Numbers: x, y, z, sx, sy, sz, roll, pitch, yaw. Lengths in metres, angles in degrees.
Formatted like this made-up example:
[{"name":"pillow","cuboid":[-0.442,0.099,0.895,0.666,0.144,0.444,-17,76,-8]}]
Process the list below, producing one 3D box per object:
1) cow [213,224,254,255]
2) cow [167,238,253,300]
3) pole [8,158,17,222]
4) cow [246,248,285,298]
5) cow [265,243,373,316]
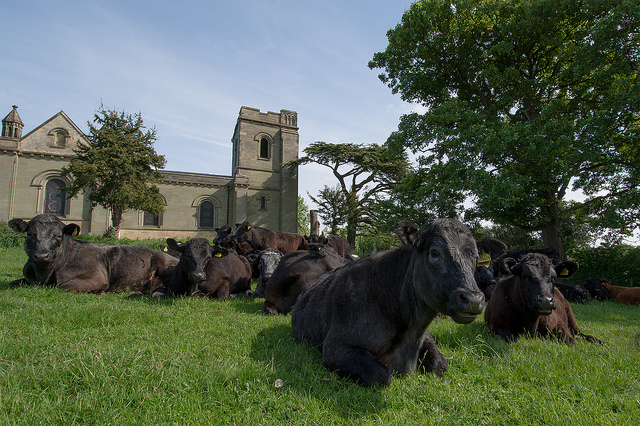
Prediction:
[{"name":"cow","cuboid":[-4.881,1.476,24.505,1.078,1.877,3.433,14,5,8]},{"name":"cow","cuboid":[-3.640,2.027,15.221,1.639,1.294,3.291,-1,-18,6]},{"name":"pole","cuboid":[-27.091,-2.183,40.171,0.325,5.438,0.636,5,-6,-34]},{"name":"cow","cuboid":[-1.803,2.132,17.263,1.611,1.762,3.702,5,1,-5]},{"name":"cow","cuboid":[0.016,1.855,13.721,1.441,1.762,3.700,1,4,33]}]
